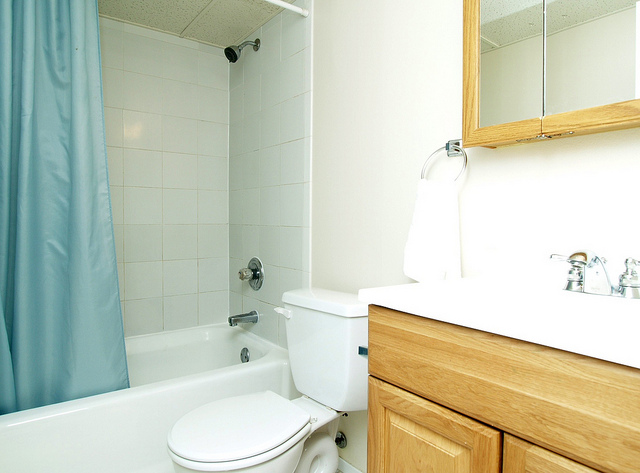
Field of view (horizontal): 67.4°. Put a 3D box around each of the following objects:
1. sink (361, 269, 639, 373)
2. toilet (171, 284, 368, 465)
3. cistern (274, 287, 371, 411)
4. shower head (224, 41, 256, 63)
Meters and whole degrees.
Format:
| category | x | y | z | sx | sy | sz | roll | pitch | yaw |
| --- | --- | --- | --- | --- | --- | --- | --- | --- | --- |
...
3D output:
| category | x | y | z | sx | sy | sz | roll | pitch | yaw |
| --- | --- | --- | --- | --- | --- | --- | --- | --- | --- |
| sink | 0.545 | 0.212 | 1.432 | 0.704 | 0.179 | 0.499 | -3 | 1 | 38 |
| toilet | -0.215 | 0.550 | 2.129 | 0.980 | 0.876 | 0.539 | 4 | -2 | -40 |
| cistern | 0.043 | 0.429 | 2.037 | 0.336 | 0.484 | 0.353 | 0 | 5 | -35 |
| shower head | -0.459 | -1.089 | 2.820 | 0.185 | 0.105 | 0.100 | -37 | -19 | -28 |
